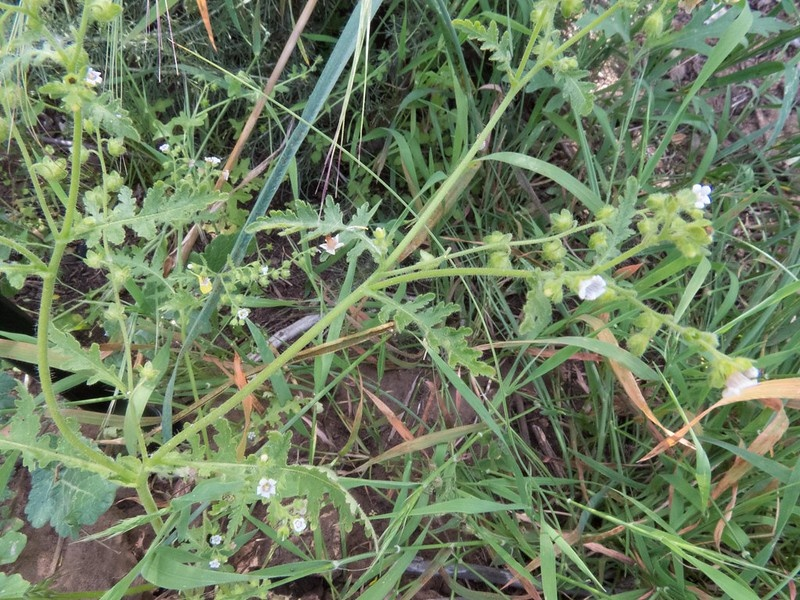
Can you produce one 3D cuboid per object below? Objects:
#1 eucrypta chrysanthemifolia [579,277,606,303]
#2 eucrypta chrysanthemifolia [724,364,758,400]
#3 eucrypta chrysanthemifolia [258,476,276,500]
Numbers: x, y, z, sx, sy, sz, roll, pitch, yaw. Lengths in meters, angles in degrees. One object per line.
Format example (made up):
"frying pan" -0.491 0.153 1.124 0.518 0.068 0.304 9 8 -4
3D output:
"eucrypta chrysanthemifolia" 0.638 -0.029 2.108 0.077 0.034 0.086 1 84 -15
"eucrypta chrysanthemifolia" 1.138 0.269 2.091 0.131 0.050 0.083 -41 40 -9
"eucrypta chrysanthemifolia" -0.487 0.694 2.331 0.074 0.088 0.061 1 52 -12
